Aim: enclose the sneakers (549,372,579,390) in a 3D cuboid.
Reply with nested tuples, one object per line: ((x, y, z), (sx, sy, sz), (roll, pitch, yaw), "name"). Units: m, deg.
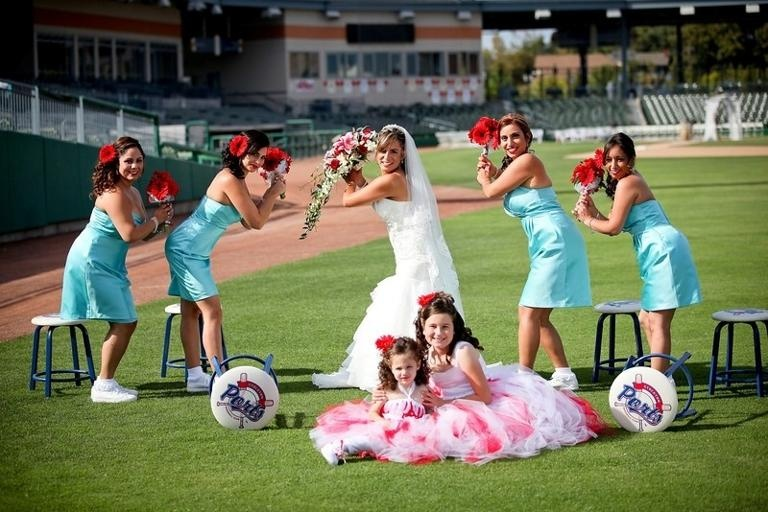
((2.061, 1.433, 11.892), (0.359, 0.172, 0.155), (3, 5, -3), "sneakers")

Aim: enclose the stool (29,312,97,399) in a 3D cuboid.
((-3.818, 1.147, 12.204), (0.606, 0.847, 0.637), (-14, -11, 17), "stool")

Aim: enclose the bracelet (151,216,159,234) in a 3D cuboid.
((-2.621, -0.359, 11.980), (0.086, 0.175, 0.130), (2, -37, -2), "bracelet")

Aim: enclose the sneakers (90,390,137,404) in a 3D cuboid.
((-3.118, 1.596, 11.918), (0.446, 0.184, 0.182), (1, 2, -2), "sneakers")

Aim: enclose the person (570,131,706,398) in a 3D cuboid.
((2.876, -0.154, 11.586), (1.214, 2.449, 0.504), (-1, 4, 19), "person")

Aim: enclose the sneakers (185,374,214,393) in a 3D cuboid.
((-2.164, 1.497, 12.086), (0.352, 0.231, 0.169), (-1, 1, -1), "sneakers")

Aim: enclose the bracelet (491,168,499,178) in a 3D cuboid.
((1.288, -0.962, 12.072), (0.081, 0.117, 0.031), (0, 7, 6), "bracelet")
